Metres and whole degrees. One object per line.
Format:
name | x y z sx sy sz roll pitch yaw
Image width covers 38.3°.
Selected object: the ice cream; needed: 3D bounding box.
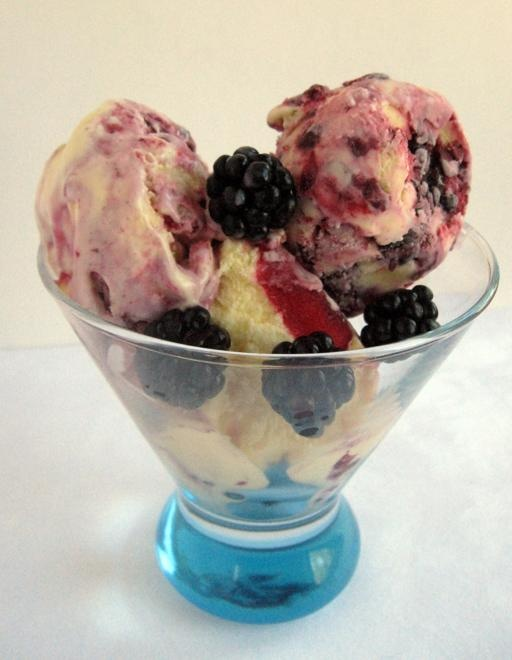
ice cream | 0.011 -0.074 1.201 0.803 0.639 0.541 -8 26 -20
